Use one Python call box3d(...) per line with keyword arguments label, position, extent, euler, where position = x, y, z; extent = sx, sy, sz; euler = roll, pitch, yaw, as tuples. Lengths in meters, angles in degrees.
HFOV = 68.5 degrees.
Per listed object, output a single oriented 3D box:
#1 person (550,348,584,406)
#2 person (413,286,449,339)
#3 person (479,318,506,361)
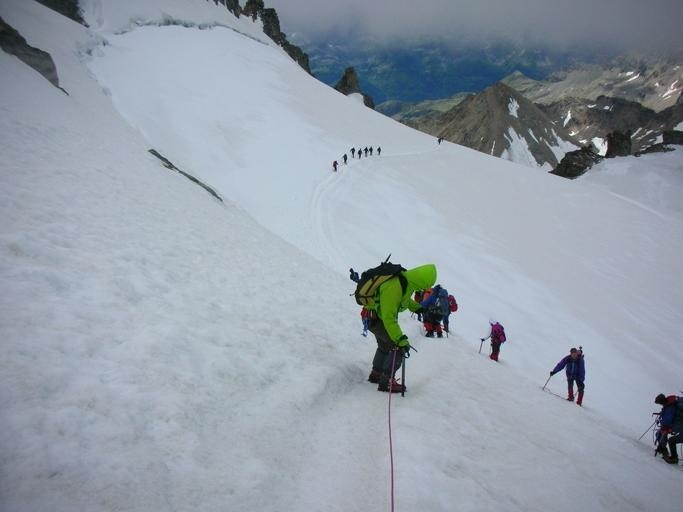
box3d(label="person", position=(7.330, 3.876, 16.139), extent=(0.937, 1.881, 0.786), euler=(3, 11, 36))
box3d(label="person", position=(2.734, 1.733, 15.346), extent=(1.239, 0.782, 2.053), euler=(14, 66, -26))
box3d(label="person", position=(5.366, 2.929, 17.860), extent=(0.651, 1.525, 0.833), euler=(-16, 24, -35))
